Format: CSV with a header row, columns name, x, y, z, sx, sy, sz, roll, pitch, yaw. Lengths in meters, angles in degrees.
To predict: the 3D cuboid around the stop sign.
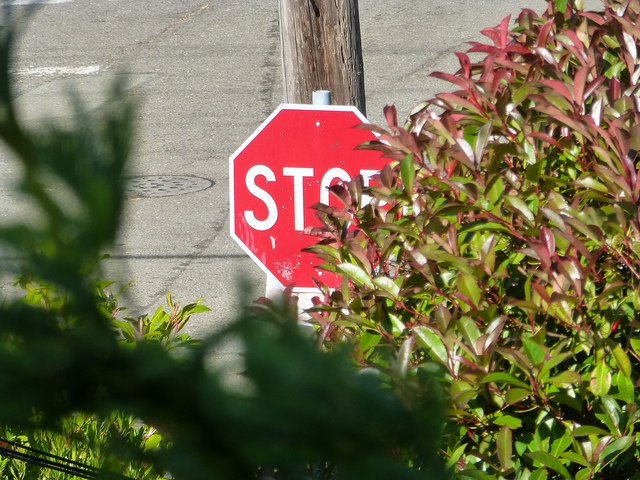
name,x,y,z,sx,sy,sz,roll,pitch,yaw
stop sign,-0.033,-0.194,7.454,0.897,0.864,0.035,1,5,20
